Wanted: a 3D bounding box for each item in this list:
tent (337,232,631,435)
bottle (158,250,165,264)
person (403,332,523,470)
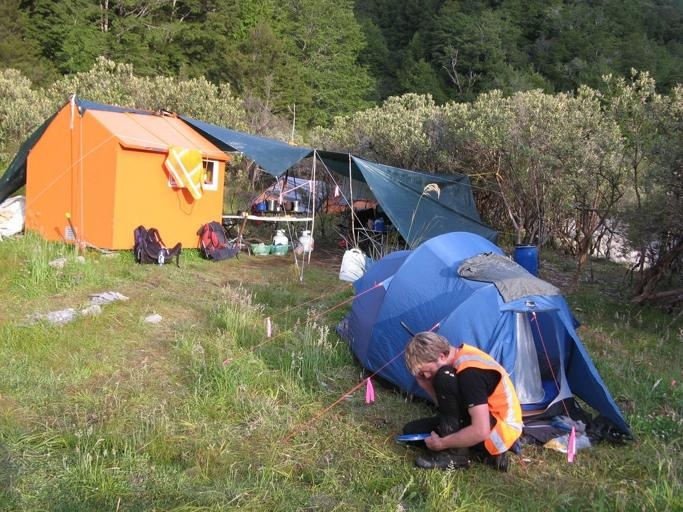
[{"bbox_3d":[1.711,0.764,8.806,2.035,1.347,3.086,-3,19,-39],"label":"tent"},{"bbox_3d":[-3.357,0.020,12.791,0.091,0.251,0.204,3,10,-3],"label":"bottle"},{"bbox_3d":[1.348,1.706,7.750,1.180,1.688,1.064,-5,4,-4],"label":"person"}]
